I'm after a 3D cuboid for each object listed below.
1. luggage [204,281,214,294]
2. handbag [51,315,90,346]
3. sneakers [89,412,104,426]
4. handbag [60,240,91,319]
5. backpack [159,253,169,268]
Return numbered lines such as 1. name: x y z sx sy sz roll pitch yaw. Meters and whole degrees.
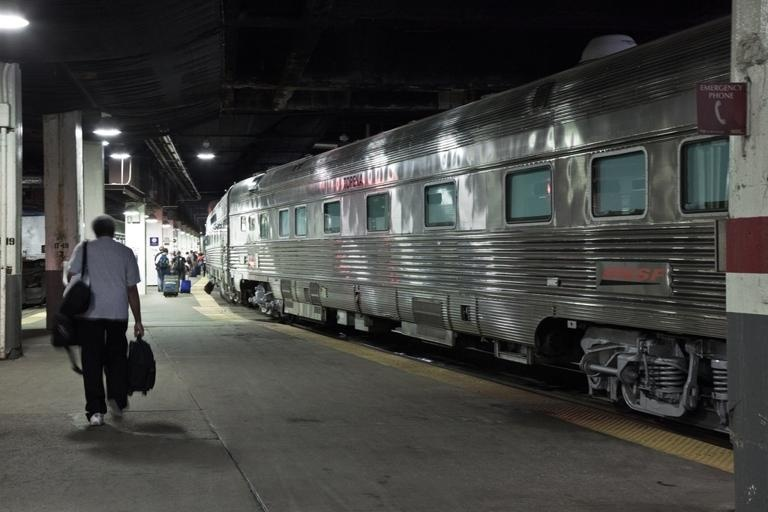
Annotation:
1. luggage: -10.172 1.837 32.284 0.462 0.679 0.466 7 -15 28
2. handbag: -3.448 0.819 6.104 0.386 0.390 0.291 1 2 -10
3. sneakers: -3.116 1.777 6.019 0.122 0.143 0.053 2 -11 -11
4. handbag: -3.352 0.258 6.039 0.298 0.831 0.286 0 -1 -27
5. backpack: -10.764 0.222 27.141 0.633 0.862 0.486 3 -9 -22
